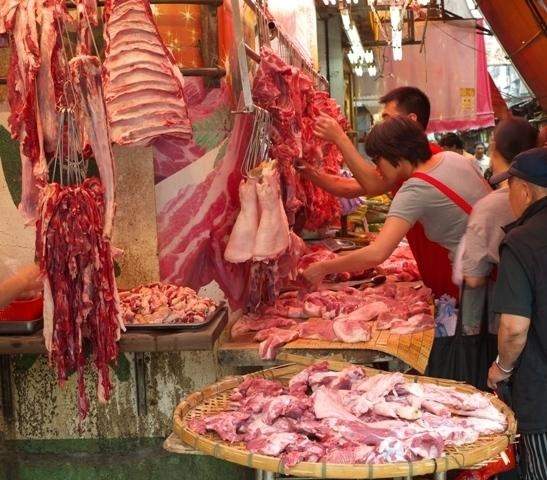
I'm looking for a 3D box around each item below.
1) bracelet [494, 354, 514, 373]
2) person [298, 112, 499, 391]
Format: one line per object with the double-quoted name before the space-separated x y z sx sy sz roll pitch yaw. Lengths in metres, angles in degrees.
"bracelet" 0.993 0.531 2.241 0.066 0.087 0.035 -2 21 21
"person" 1.038 -0.173 3.973 1.427 2.651 1.179 -1 7 18
